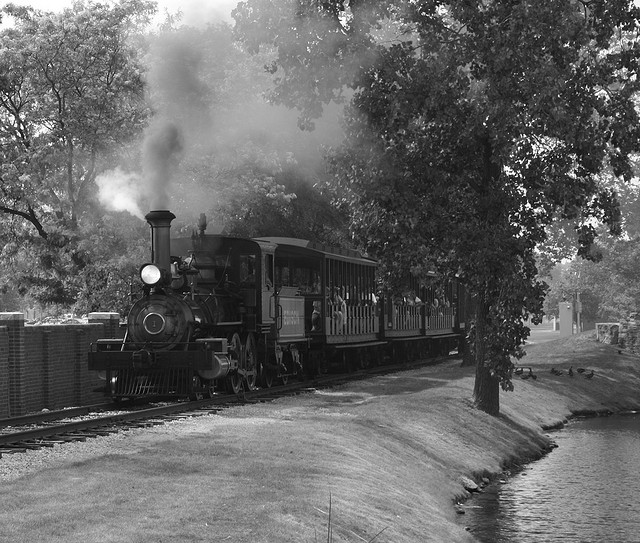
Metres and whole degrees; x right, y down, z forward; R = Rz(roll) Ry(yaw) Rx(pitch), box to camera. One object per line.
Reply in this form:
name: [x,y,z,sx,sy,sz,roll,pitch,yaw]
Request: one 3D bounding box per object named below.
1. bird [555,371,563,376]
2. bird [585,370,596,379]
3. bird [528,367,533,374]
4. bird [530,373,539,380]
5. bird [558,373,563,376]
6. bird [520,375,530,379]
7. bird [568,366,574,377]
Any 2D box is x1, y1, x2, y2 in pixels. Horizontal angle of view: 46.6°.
bird: [10.210,4.364,31.728,0.331,0.197,0.193,12,1,-32]
bird: [11.903,4.547,32.560,0.391,0.419,0.189,-3,-1,-4]
bird: [8.749,4.113,30.776,0.052,0.220,0.214,-19,-25,12]
bird: [8.619,4.237,29.924,0.179,0.141,0.370,10,-5,1]
bird: [10.308,4.411,31.784,0.097,0.118,0.452,12,0,34]
bird: [8.185,4.175,29.660,0.262,0.139,0.411,15,1,44]
bird: [10.944,4.397,32.326,0.136,0.569,0.326,7,-6,-41]
